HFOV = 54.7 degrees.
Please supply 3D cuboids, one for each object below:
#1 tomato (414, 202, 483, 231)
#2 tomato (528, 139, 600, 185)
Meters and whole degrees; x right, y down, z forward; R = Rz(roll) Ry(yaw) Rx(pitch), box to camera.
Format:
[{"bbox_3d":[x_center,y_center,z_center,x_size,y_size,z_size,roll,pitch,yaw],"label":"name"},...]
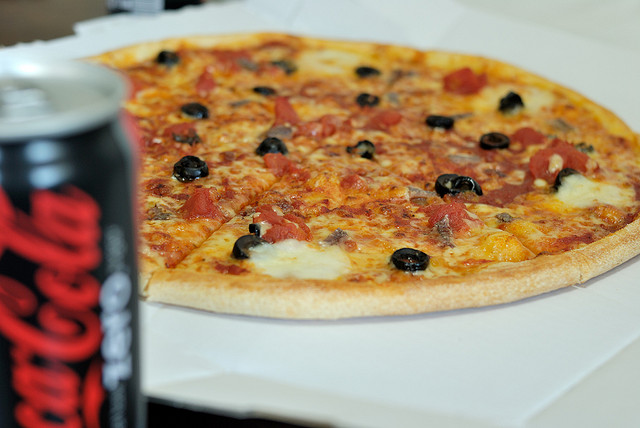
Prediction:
[{"bbox_3d":[0.523,0.014,2.536,0.227,0.060,0.239,-5,12,-5],"label":"tomato"},{"bbox_3d":[1.176,-0.259,3.034,0.285,0.065,0.242,-6,31,-8],"label":"tomato"}]
